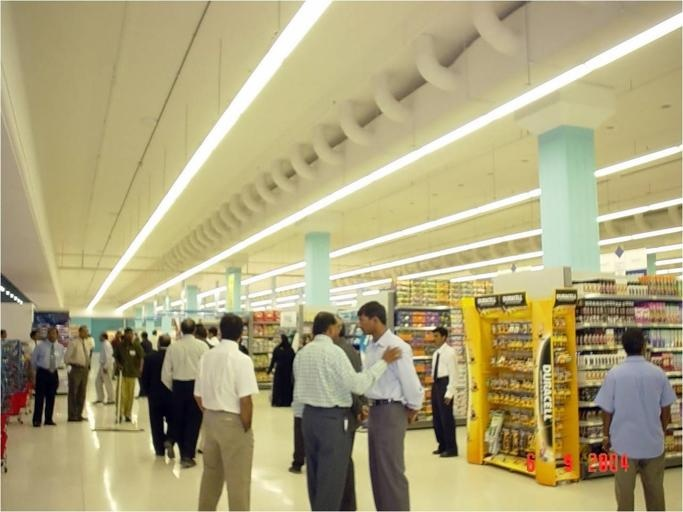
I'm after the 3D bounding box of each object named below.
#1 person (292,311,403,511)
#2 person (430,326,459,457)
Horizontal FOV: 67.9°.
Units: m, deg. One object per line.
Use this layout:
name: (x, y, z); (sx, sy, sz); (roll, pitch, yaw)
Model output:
person: (-0.023, 1.336, 4.425); (0.825, 1.688, 0.387); (-4, -12, 10)
person: (1.637, 2.020, 7.583); (0.384, 1.852, 0.411); (4, -3, -13)
